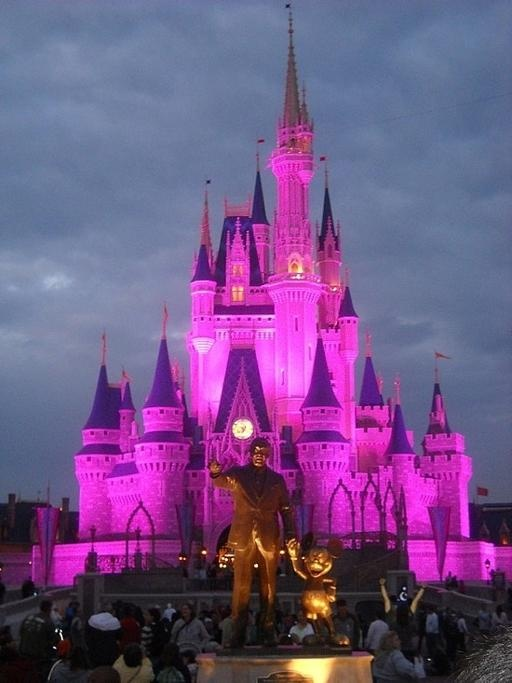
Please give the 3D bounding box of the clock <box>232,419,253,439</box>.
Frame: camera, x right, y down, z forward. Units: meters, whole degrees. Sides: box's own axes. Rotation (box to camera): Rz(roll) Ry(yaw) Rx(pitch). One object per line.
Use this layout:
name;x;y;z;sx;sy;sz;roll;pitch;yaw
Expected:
clock;-0.539;4.108;55.643;0.992;1.112;0.508;1;-9;-3
